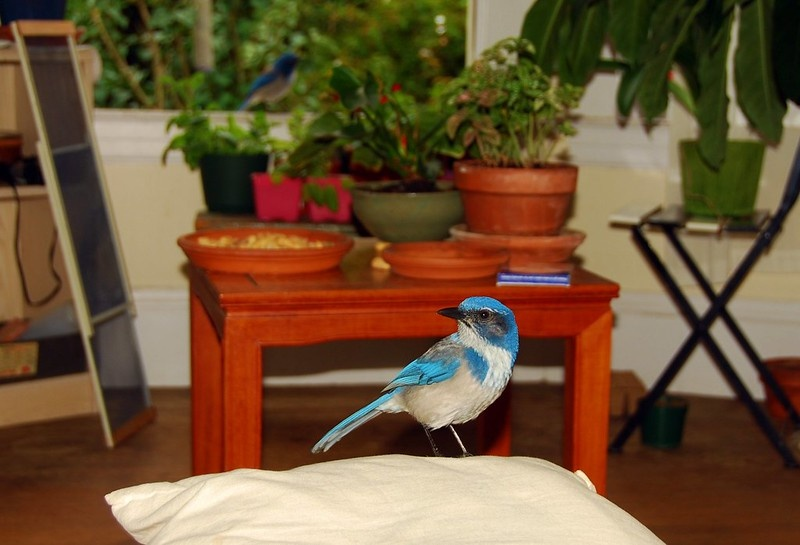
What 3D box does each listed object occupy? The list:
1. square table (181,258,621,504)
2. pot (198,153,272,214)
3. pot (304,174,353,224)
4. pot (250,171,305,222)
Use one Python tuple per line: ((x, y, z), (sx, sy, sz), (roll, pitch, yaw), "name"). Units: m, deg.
((-0.028, 0.168, 2.469), (0.940, 0.884, 0.933), (0, 5, -9), "square table")
((-0.719, -0.374, 3.261), (0.272, 0.225, 0.292), (2, 2, 0), "pot")
((-0.307, -0.309, 3.144), (0.235, 0.207, 0.239), (2, 9, 0), "pot")
((-0.510, -0.252, 3.176), (0.232, 0.214, 0.295), (-1, -24, -8), "pot")
